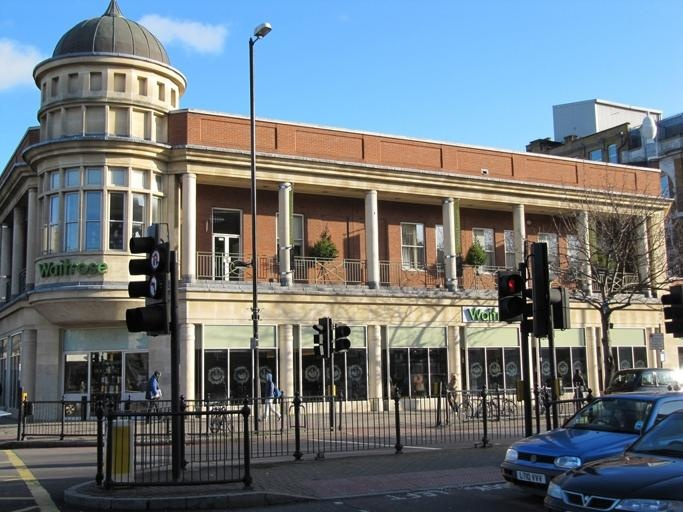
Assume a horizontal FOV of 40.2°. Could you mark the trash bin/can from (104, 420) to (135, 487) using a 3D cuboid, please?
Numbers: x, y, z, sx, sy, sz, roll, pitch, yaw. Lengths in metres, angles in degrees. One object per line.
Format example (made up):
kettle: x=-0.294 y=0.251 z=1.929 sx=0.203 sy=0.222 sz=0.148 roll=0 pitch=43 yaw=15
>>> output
trash bin/can: x=-5.014 y=4.451 z=21.259 sx=0.607 sy=1.430 sz=0.290 roll=0 pitch=-11 yaw=-16

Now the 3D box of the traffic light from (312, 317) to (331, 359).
traffic light: x=-0.620 y=2.571 z=29.706 sx=0.465 sy=1.231 sz=0.687 roll=6 pitch=-14 yaw=-39

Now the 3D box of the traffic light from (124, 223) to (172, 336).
traffic light: x=-4.405 y=0.505 z=21.359 sx=0.991 sy=2.657 sz=0.913 roll=-1 pitch=-11 yaw=-13

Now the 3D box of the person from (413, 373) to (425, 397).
person: x=3.445 y=5.647 z=41.156 sx=0.691 sy=0.985 sz=0.201 roll=5 pitch=-13 yaw=-39

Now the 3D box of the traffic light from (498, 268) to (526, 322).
traffic light: x=4.200 y=0.979 z=22.967 sx=0.679 sy=1.251 sz=0.422 roll=-5 pitch=-11 yaw=11
